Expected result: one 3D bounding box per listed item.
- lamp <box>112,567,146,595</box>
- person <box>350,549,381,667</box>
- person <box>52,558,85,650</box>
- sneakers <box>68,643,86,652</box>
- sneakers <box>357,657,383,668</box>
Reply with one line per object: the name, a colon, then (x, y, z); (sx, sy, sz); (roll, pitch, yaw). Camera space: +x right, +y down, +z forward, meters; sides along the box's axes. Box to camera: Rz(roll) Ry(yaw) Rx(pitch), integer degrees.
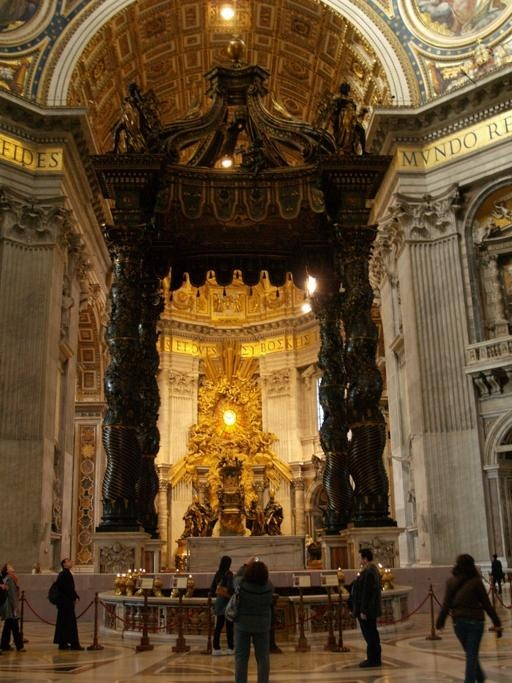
lamp: (-1.443, 2.712, 8.504); (0.414, 0.161, 0.511); (-1, -11, 4)
person: (0.903, 2.185, 6.125); (0.271, 0.894, 0.593); (3, -7, 10)
person: (-1.892, 2.629, 7.489); (0.357, 0.889, 0.461); (6, -7, -13)
sneakers: (-1.745, 2.987, 7.317); (0.185, 0.110, 0.063); (0, -9, -4)
sneakers: (0.881, 2.515, 5.852); (0.185, 0.074, 0.062); (1, -28, 7)
